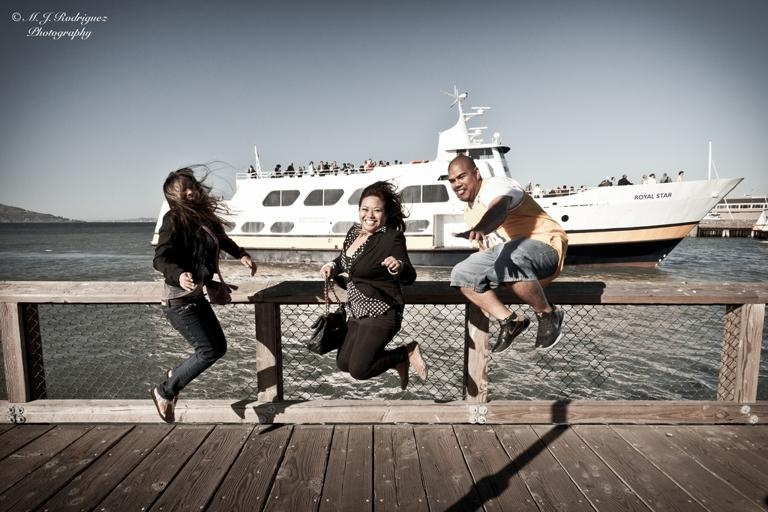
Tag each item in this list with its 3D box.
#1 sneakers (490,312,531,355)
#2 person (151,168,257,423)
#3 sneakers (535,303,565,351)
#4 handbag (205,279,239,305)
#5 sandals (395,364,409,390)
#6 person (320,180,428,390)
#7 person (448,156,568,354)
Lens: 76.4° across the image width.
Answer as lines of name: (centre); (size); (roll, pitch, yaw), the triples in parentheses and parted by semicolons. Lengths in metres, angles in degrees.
sneakers: (1.117, 0.689, 4.330); (0.306, 0.393, 0.282); (-3, 12, -4)
person: (-1.624, 0.389, 4.322); (0.598, 2.301, 0.895); (7, 15, 38)
sneakers: (1.441, 0.666, 4.345); (0.216, 0.454, 0.186); (42, -27, -30)
handbag: (-1.448, 0.333, 4.354); (0.242, 0.151, 0.255); (-8, -4, 38)
sandals: (0.182, 1.121, 4.527); (0.107, 0.323, 0.141); (-1, -7, 0)
person: (-0.088, 0.328, 4.436); (0.865, 1.962, 0.647); (-3, 12, -3)
person: (1.123, -0.025, 4.431); (1.050, 1.787, 0.847); (0, 12, 13)
